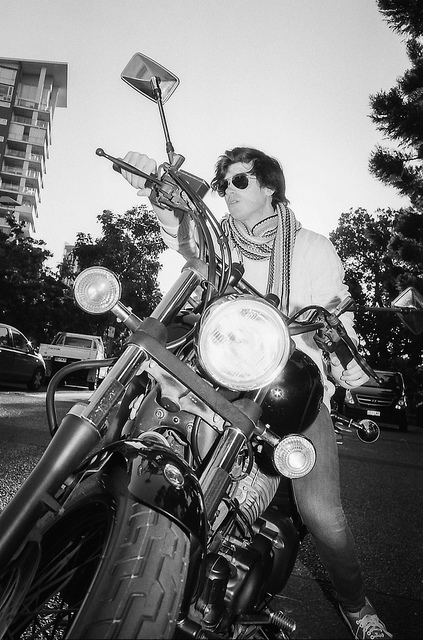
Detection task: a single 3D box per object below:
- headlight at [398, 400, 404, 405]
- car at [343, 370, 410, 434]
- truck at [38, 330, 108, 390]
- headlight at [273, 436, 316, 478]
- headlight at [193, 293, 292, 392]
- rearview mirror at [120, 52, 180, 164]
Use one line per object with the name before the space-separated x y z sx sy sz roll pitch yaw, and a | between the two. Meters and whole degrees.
headlight | 6.143 2.661 16.028 0.130 0.138 0.036 2 -16 17
car | 6.078 2.945 17.971 2.228 2.235 4.383 2 -10 26
truck | -5.041 1.467 18.669 1.877 1.877 3.956 8 -8 -6
headlight | 0.218 0.363 1.321 0.107 0.108 0.030 13 -1 2
headlight | 0.073 0.054 1.128 0.216 0.227 0.054 16 -24 5
rearview mirror | -0.159 -0.618 1.512 0.051 0.162 0.323 19 -41 42
